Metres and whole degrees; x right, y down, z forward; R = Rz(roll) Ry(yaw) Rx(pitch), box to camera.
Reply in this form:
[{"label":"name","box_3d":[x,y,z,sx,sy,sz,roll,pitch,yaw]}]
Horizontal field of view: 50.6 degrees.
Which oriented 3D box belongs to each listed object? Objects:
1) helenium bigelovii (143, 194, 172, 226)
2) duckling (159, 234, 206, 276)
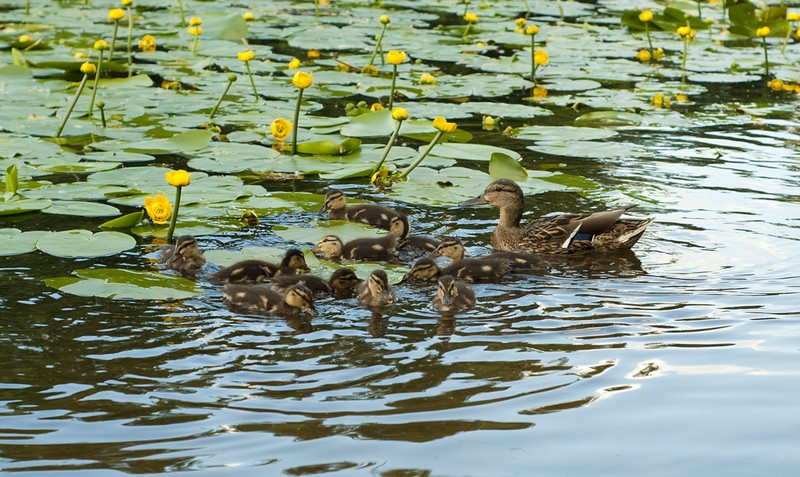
[{"label":"helenium bigelovii","box_3d":[-3.009,-0.376,10.583,0.356,0.371,0.221,6,10,-4]},{"label":"duckling","box_3d":[-2.508,0.165,9.840,0.549,0.448,0.354,13,11,43]}]
